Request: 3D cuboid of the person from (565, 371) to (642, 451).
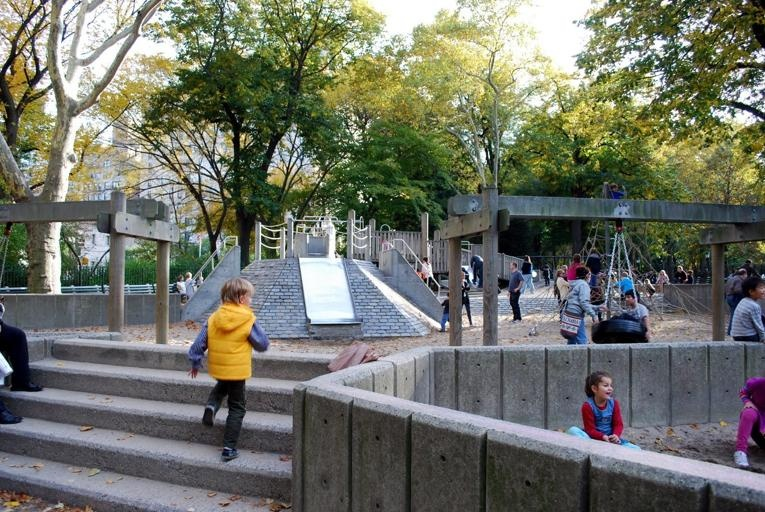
[{"bbox_3d":[4.199,2.904,14.039,1.268,1.394,1.068,5,2,38],"label":"person"}]
